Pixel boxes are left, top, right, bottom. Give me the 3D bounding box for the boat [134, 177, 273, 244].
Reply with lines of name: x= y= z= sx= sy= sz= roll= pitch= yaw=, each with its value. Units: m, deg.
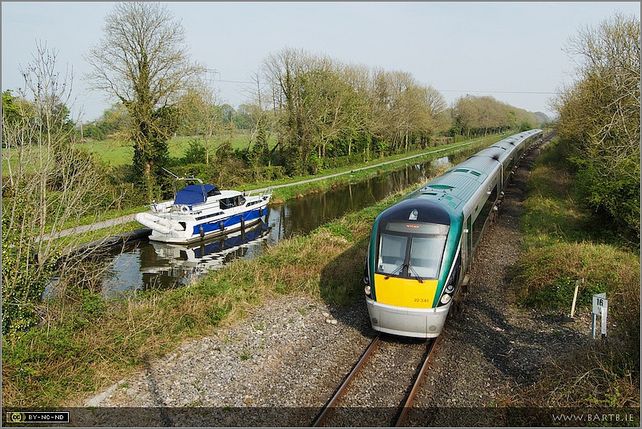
boat: x=-7.201 y=-0.281 z=27.362 sx=2.869 sy=3.348 sz=8.775 roll=8 pitch=12 yaw=30
